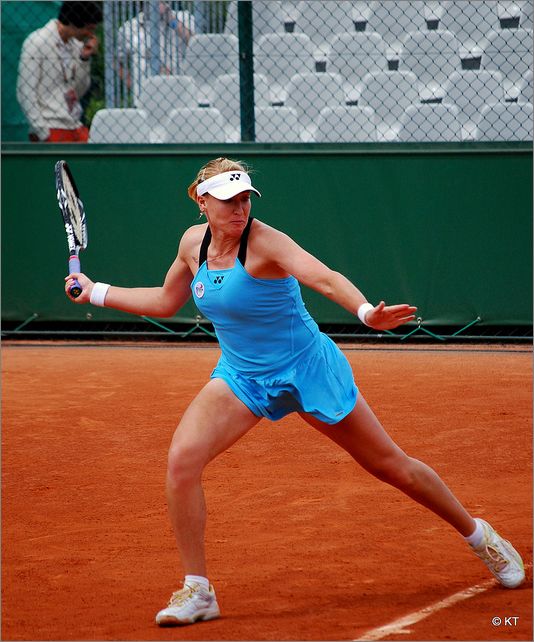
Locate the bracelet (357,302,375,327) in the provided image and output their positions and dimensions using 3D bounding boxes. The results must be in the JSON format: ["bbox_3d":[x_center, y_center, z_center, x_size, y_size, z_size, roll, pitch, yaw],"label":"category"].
[{"bbox_3d":[0.310,-0.024,2.208,0.055,0.062,0.044,0,-24,12],"label":"bracelet"}]

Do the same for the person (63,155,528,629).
[{"bbox_3d":[-0.060,0.206,2.505,1.607,1.562,0.939,7,14,33],"label":"person"}]

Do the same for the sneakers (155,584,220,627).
[{"bbox_3d":[-0.256,0.930,2.326,0.267,0.137,0.094,2,-10,-23],"label":"sneakers"}]
